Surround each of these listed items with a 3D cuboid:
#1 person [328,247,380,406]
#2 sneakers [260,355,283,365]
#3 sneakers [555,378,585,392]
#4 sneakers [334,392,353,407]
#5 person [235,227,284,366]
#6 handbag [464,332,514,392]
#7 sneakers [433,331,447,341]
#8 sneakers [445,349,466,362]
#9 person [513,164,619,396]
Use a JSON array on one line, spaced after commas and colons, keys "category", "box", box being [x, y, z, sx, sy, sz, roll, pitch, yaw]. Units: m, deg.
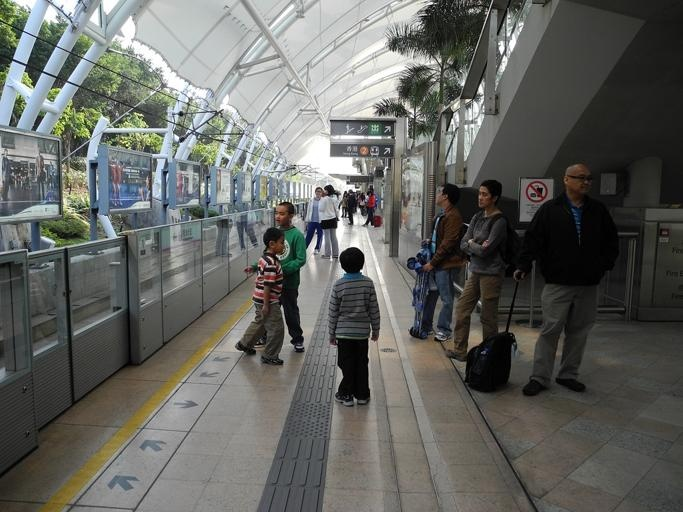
[{"category": "person", "box": [0.141, 0.753, 4.499, 0.526, 1.706, 0.377, 0, 6, 0]}, {"category": "sneakers", "box": [-0.914, 1.368, 5.714, 0.298, 0.149, 0.110, 2, 1, 2]}, {"category": "sneakers", "box": [2.610, 1.451, 4.912, 0.118, 0.111, 0.290, -20, 17, -36]}, {"category": "sneakers", "box": [0.034, 1.534, 4.623, 0.200, 0.098, 0.085, 10, 10, 15]}, {"category": "person", "box": [-1.000, 0.513, 5.780, 0.454, 1.793, 0.606, -5, 8, -38]}, {"category": "handbag", "box": [1.723, 1.246, 4.970, 0.564, 0.740, 0.440, -3, 9, -41]}, {"category": "sneakers", "box": [1.533, 1.251, 6.637, 0.093, 0.101, 0.208, 0, -5, 25]}, {"category": "sneakers", "box": [1.574, 1.361, 5.925, 0.291, 0.133, 0.107, 18, 20, 40]}, {"category": "person", "box": [2.445, 0.266, 4.725, 1.040, 2.525, 0.413, -1, 6, -6]}]
